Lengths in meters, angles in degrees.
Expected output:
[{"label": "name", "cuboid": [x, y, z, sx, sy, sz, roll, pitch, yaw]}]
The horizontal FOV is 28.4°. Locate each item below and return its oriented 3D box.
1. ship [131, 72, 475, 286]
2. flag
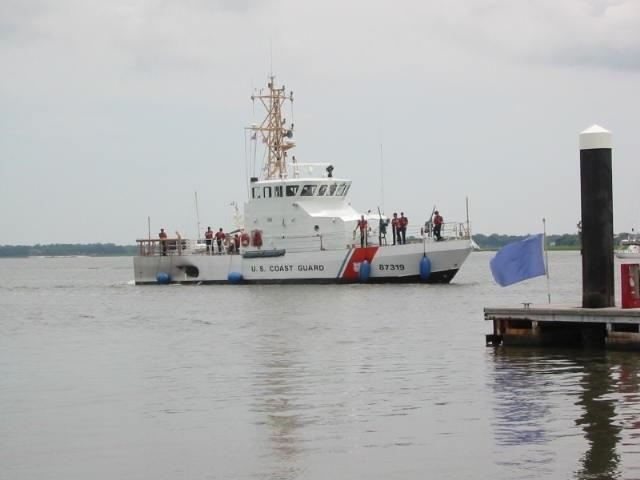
[{"label": "ship", "cuboid": [-0.766, -1.845, 51.686, 16.074, 8.198, 5.565, -2, 1, 35]}, {"label": "flag", "cuboid": [4.739, 0.590, 30.162, 1.740, 1.343, 0.298, -18, -11, 38]}]
